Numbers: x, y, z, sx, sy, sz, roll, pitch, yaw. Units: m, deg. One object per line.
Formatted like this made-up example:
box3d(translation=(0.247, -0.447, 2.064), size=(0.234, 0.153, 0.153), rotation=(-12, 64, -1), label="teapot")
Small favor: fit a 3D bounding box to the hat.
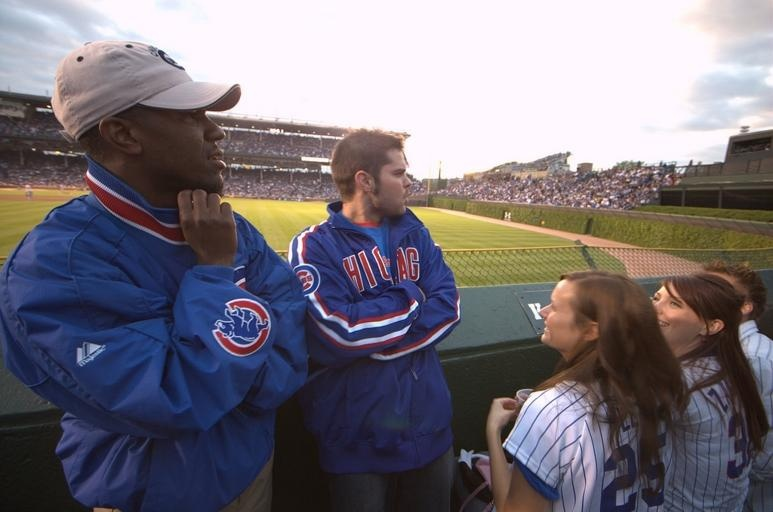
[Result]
box3d(translation=(-1.084, -0.754, 2.063), size=(0.723, 0.380, 0.480), rotation=(-13, 16, 7), label="hat")
